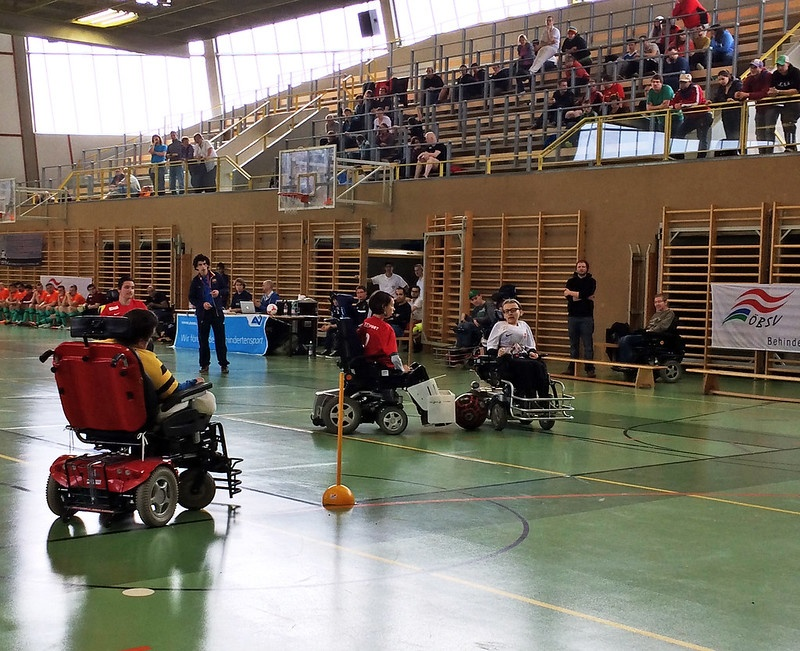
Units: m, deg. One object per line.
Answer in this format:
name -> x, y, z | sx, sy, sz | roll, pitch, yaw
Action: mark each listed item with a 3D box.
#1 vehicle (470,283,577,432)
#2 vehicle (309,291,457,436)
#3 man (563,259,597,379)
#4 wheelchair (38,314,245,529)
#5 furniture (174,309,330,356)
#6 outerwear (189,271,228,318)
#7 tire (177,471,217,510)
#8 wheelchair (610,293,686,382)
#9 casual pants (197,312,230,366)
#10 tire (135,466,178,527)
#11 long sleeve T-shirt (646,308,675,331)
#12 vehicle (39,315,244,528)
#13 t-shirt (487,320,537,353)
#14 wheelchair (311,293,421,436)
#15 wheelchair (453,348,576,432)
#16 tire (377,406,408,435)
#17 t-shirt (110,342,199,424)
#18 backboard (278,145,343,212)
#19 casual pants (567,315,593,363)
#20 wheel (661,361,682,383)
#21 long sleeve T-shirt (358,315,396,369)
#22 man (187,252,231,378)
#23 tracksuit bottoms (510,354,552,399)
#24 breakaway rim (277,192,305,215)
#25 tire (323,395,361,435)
vehicle -> 1.456, 0.481, 9.956 | 0.936, 1.530, 1.500 | 0, 2, -12
vehicle -> -0.097, 0.539, 9.744 | 2.059, 2.120, 0.966 | -3, 8, -15
man -> 3.362, -0.134, 15.011 | 0.608, 2.169, 0.579 | 3, 5, 35
wheelchair -> -1.823, 0.709, 6.032 | 0.852, 1.474, 1.471 | -2, -2, 23
furniture -> -4.187, 0.269, 19.842 | 2.703, 0.910, 0.896 | 1, -7, 22
outerwear -> -3.451, -0.593, 14.442 | 0.687, 0.729, 0.470 | -10, 19, -26
tire -> -1.499, 1.218, 5.902 | 0.293, 0.300, 0.122 | -1, 0, -38
wheelchair -> 4.595, 0.232, 14.887 | 1.128, 1.545, 0.936 | 4, 1, -3
casual pants -> -3.393, 0.169, 14.614 | 0.530, 1.541, 0.396 | 0, 24, -11
tire -> -1.663, 1.172, 5.475 | 0.094, 0.293, 0.333 | -1, -24, 20
long sleeve T-shirt -> 4.780, -0.082, 14.706 | 0.211, 0.371, 0.364 | 24, -11, -13
vehicle -> -1.828, 0.693, 6.006 | 0.842, 1.437, 1.539 | -2, -3, 24
t-shirt -> 1.368, 0.173, 10.104 | 0.672, 0.535, 0.350 | 2, -8, -14
wheelchair -> -0.300, 0.416, 9.316 | 1.265, 1.602, 0.818 | 3, 9, -3
wheelchair -> 1.458, 0.795, 10.113 | 1.379, 0.937, 1.333 | 3, 1, 23
tire -> -0.092, 1.093, 9.188 | 0.299, 0.310, 0.099 | 4, 2, -8
t-shirt -> -1.614, 0.462, 5.797 | 0.467, 0.467, 0.358 | -3, 21, -28
backboard -> -2.219, -3.647, 20.135 | 1.834, 1.710, 0.778 | 0, 1, 40
casual pants -> 3.407, 0.262, 15.160 | 0.468, 1.087, 0.344 | 6, 18, 25
wheel -> 4.943, 0.848, 14.695 | 0.353, 0.365, 0.126 | -4, 13, -16
long sleeve T-shirt -> -0.260, 0.215, 9.062 | 0.229, 0.441, 0.494 | -15, 18, -34
man -> -3.449, -0.198, 14.411 | 0.619, 2.124, 0.629 | -4, 11, -10
tracksuit bottoms -> 1.602, 0.633, 9.844 | 0.478, 0.517, 0.263 | 0, 6, 3
breakaway rim -> -2.739, -3.096, 20.485 | 0.468, 0.286, 0.659 | 2, 1, 33
tire -> -0.610, 1.031, 9.062 | 0.505, 0.436, 0.234 | -4, 7, -32
